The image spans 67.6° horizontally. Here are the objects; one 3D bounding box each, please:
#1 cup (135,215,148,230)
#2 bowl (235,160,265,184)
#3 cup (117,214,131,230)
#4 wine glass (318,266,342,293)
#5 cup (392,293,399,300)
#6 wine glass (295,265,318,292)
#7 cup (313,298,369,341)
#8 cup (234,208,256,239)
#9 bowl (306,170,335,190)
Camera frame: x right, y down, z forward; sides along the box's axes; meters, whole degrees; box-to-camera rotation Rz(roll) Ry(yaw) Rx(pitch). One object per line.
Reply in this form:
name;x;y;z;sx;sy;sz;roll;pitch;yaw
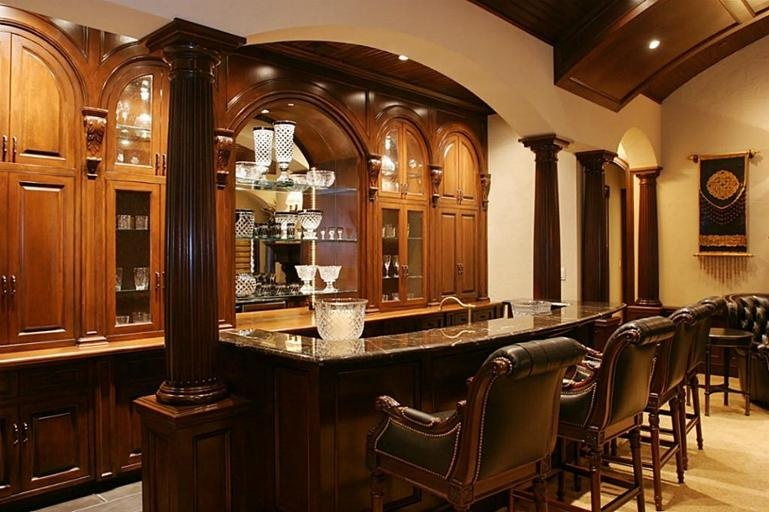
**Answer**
cup;-2.235;-0.300;5.279;0.117;0.136;0.121;4;6;0
bowl;-1.378;-0.842;5.830;0.227;0.138;0.232;1;1;0
cup;-2.366;-0.305;5.216;0.116;0.139;0.120;0;-3;0
wine glass;-0.624;0.270;6.360;0.275;0.274;0.277;0;-3;-18
cup;0.127;0.503;7.058;0.073;0.077;0.139;3;2;9
wine glass;-0.858;0.259;6.357;0.266;0.279;0.260;0;-6;-6
cup;-0.322;0.457;4.127;0.283;0.281;0.288;0;1;0
cup;-1.432;-0.328;5.939;0.241;0.285;0.259;0;-2;0
bowl;-0.756;-0.839;6.376;0.234;0.146;0.229;-2;0;0
